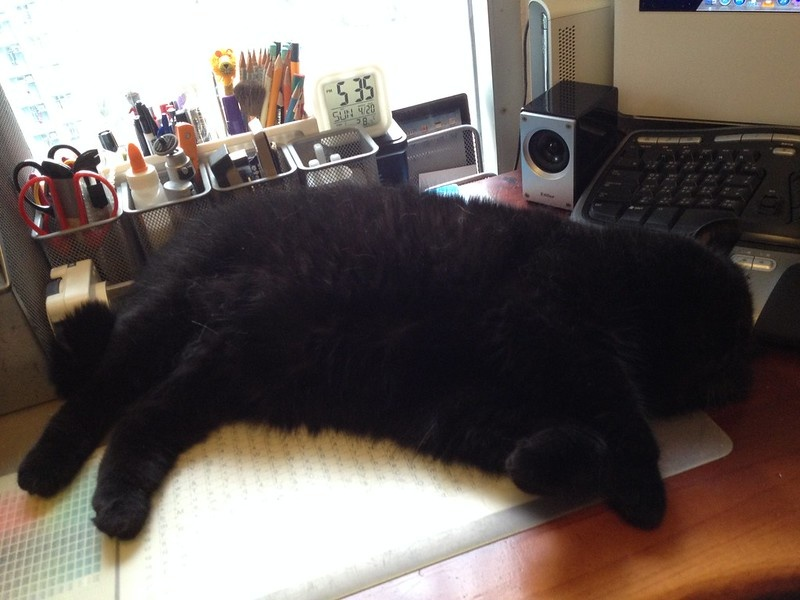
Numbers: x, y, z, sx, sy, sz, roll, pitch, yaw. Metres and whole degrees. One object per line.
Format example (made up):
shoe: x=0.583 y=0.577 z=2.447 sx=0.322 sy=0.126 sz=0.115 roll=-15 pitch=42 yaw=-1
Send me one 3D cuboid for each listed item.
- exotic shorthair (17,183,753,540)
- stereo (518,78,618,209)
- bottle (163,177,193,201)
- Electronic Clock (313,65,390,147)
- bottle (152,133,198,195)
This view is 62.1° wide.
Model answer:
exotic shorthair: x=-0.009 y=0.046 z=0.760 sx=0.626 sy=0.329 sz=0.156 roll=27 pitch=43 yaw=25
stereo: x=0.230 y=-0.213 z=0.900 sx=0.128 sy=0.132 sz=0.091 roll=-36 pitch=44 yaw=-29
bottle: x=-0.286 y=-0.143 z=0.857 sx=0.030 sy=0.023 sz=0.031 roll=0 pitch=43 yaw=0
Electronic Clock: x=-0.068 y=-0.275 z=0.957 sx=0.108 sy=0.096 sz=0.065 roll=-12 pitch=36 yaw=-5
bottle: x=-0.292 y=-0.165 z=0.869 sx=0.042 sy=0.088 sz=0.037 roll=-11 pitch=22 yaw=-6
